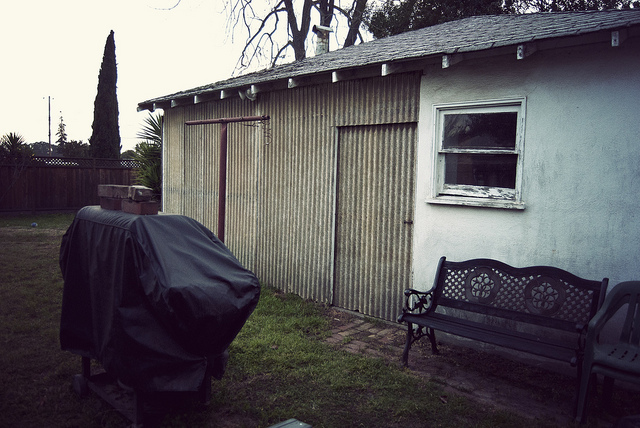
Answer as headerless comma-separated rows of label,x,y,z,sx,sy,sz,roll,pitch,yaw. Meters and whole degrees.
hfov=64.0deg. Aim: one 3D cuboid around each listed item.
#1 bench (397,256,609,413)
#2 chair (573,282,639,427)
bench,2.395,1.420,6.748,2.343,1.543,1.050,4,6,30
chair,3.381,1.622,5.926,0.913,1.613,0.535,-3,6,-40
